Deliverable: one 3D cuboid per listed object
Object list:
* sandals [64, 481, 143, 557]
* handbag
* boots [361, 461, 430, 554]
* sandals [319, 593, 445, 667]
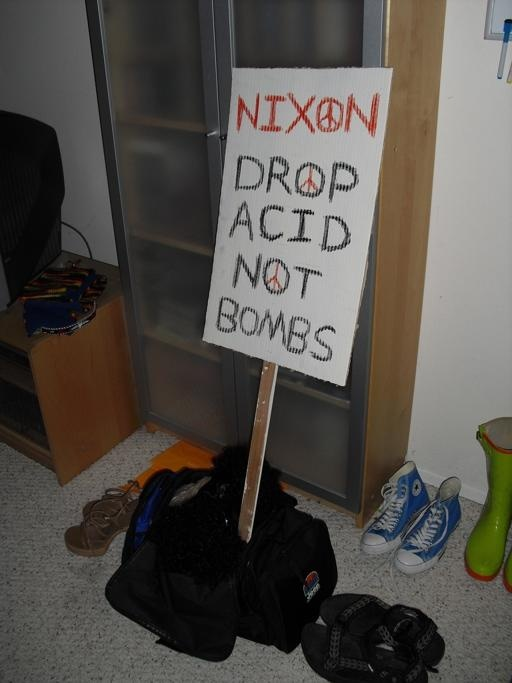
[{"bbox_3d":[-0.459,0.556,1.671,0.112,0.102,0.300,18,30,17],"label":"sandals"},{"bbox_3d":[-0.086,0.502,1.362,0.496,0.239,0.540,10,30,3],"label":"handbag"},{"bbox_3d":[0.399,0.488,1.540,0.258,0.134,0.090,-48,39,-14],"label":"boots"},{"bbox_3d":[0.306,0.675,1.269,0.212,0.076,0.134,16,34,28],"label":"sandals"}]
